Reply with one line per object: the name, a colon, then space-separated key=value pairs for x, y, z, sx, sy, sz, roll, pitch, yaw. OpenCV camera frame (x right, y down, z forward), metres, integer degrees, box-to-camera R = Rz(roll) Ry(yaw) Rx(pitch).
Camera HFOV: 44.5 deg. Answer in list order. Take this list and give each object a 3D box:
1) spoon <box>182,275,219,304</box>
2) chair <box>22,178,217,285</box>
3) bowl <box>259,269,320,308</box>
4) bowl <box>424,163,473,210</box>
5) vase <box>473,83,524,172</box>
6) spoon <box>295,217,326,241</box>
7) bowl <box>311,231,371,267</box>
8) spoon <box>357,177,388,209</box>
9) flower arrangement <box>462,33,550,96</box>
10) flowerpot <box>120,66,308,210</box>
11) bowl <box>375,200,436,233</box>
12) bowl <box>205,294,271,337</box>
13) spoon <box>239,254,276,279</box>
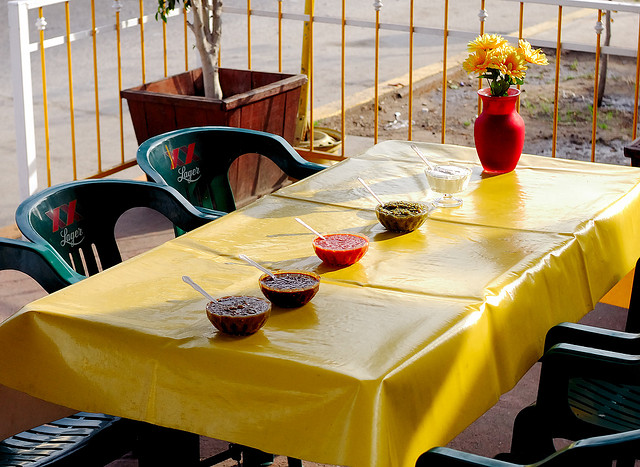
spoon: x=-0.387 y=0.184 z=2.528 sx=0.020 sy=0.015 sz=0.138 roll=-32 pitch=45 yaw=-28
chair: x=-0.833 y=-0.014 z=3.245 sx=0.421 sy=0.543 sz=0.426 roll=15 pitch=34 yaw=42
bowl: x=-0.099 y=0.176 z=2.488 sx=0.186 sy=0.087 sz=0.189 roll=0 pitch=14 yaw=0
bowl: x=0.528 y=-0.205 z=3.279 sx=0.190 sy=0.144 sz=0.185 roll=0 pitch=16 yaw=0
vase: x=0.817 y=-0.467 z=3.570 sx=0.233 sy=0.364 sz=0.226 roll=-16 pitch=27 yaw=-17
spoon: x=-0.039 y=-0.014 z=2.959 sx=0.025 sy=0.150 sz=0.020 roll=-38 pitch=51 yaw=10
bowl: x=0.073 y=0.055 z=2.759 sx=0.197 sy=0.088 sz=0.203 roll=0 pitch=13 yaw=0
spoon: x=0.216 y=-0.168 z=3.306 sx=0.036 sy=0.204 sz=0.028 roll=-21 pitch=31 yaw=50
flower arrangement: x=0.808 y=-0.720 z=3.474 sx=0.348 sy=0.271 sz=0.287 roll=0 pitch=16 yaw=0
flowerpot: x=-0.746 y=-0.528 z=5.710 sx=1.306 sy=0.966 sz=1.114 roll=13 pitch=28 yaw=30
bowl: x=0.303 y=-0.074 z=2.951 sx=0.148 sy=0.064 sz=0.165 roll=5 pitch=16 yaw=24
bowl: x=-0.241 y=0.249 z=2.335 sx=0.178 sy=0.083 sz=0.167 roll=0 pitch=14 yaw=0
spoon: x=-0.215 y=0.089 z=2.614 sx=0.048 sy=0.037 sz=0.274 roll=-24 pitch=22 yaw=-24
